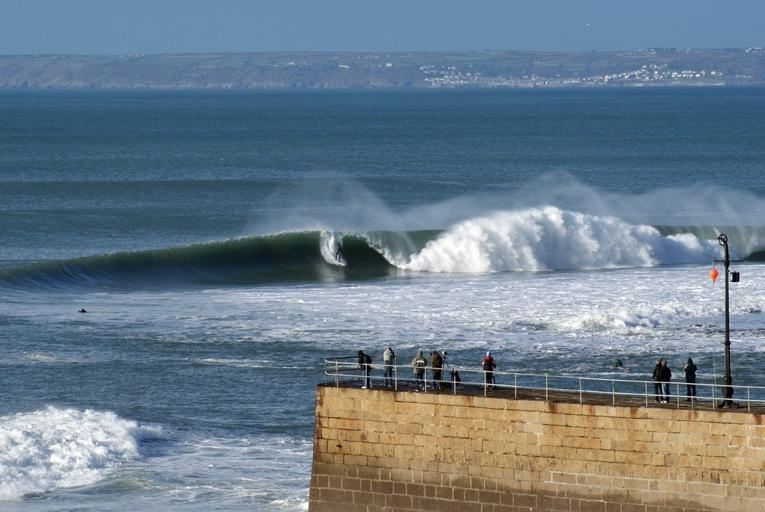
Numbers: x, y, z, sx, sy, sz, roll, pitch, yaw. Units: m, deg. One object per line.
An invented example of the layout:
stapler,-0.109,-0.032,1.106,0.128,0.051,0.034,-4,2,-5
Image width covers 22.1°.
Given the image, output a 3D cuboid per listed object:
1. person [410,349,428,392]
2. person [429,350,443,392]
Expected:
person,1.702,5.341,91.574,0.658,1.930,1.324,-2,-7,0
person,2.549,5.305,91.522,0.555,1.834,1.226,-2,-7,1
